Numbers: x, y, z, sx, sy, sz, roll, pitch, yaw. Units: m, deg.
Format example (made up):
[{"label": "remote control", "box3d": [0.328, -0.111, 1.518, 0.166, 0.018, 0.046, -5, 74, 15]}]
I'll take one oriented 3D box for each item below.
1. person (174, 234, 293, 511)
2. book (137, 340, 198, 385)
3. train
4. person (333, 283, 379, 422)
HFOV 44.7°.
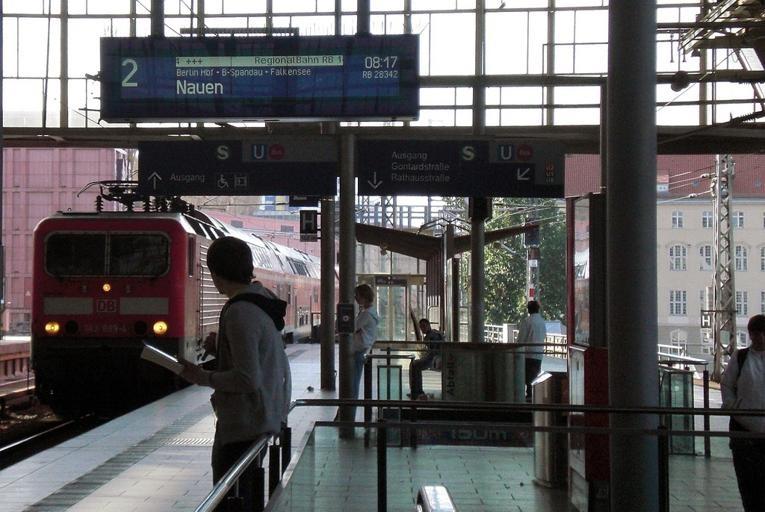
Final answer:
[{"label": "person", "box3d": [-1.415, 1.041, 9.366, 0.953, 2.479, 0.515, 0, -2, -5]}, {"label": "book", "box3d": [-2.125, 1.075, 9.340, 0.529, 0.357, 0.345, 1, -2, -12]}, {"label": "train", "box3d": [-4.732, 0.996, 22.433, 3.436, 4.635, 11.542, 0, -2, 12]}, {"label": "person", "box3d": [-0.308, 1.438, 16.088, 0.441, 1.903, 1.203, 0, -2, 1]}]
